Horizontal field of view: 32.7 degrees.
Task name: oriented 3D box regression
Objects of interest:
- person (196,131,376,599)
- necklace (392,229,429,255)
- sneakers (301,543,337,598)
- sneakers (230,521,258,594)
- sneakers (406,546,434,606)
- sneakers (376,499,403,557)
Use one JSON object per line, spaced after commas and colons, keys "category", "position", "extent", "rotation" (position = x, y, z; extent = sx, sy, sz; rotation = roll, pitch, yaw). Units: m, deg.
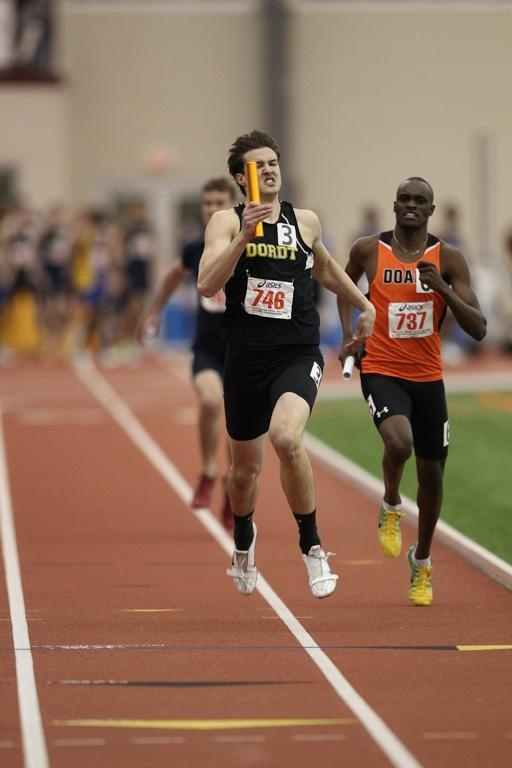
{"category": "person", "position": [0.102, 0.014, 3.332], "extent": [0.591, 1.956, 0.857], "rotation": [2, 8, 16]}
{"category": "necklace", "position": [0.647, -0.590, 3.650], "extent": [0.113, 0.128, 0.081], "rotation": [0, 19, 6]}
{"category": "sneakers", "position": [0.238, 0.706, 3.375], "extent": [0.107, 0.107, 0.249], "rotation": [-22, 35, 8]}
{"category": "sneakers", "position": [-0.056, 0.729, 3.634], "extent": [0.130, 0.261, 0.116], "rotation": [-2, -7, 14]}
{"category": "sneakers", "position": [0.689, 0.814, 3.702], "extent": [0.097, 0.235, 0.111], "rotation": [-1, -10, 1]}
{"category": "sneakers", "position": [0.566, 0.619, 3.746], "extent": [0.102, 0.233, 0.113], "rotation": [-3, -9, 2]}
